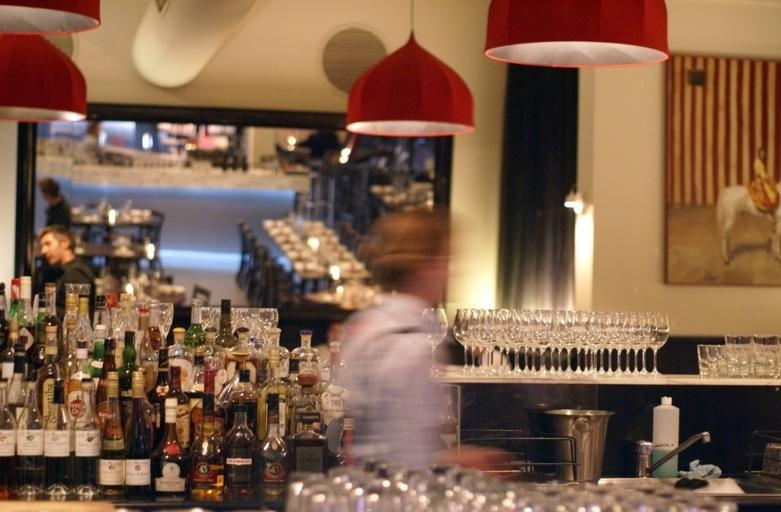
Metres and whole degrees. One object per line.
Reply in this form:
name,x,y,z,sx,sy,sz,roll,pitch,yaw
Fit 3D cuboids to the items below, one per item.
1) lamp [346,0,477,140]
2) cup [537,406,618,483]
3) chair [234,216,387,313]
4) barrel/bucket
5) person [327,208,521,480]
lamp,0.108,-0.913,6.085,0.556,0.803,0.579,0,-1,6
cup,1.005,1.022,6.493,0.390,0.395,0.407,-1,-2,0
chair,-0.629,0.059,8.214,0.659,0.926,0.360,-4,-44,-27
barrel/bucket,1.012,1.038,6.491,0.396,0.397,0.409,-3,-5,0
person,0.066,0.403,5.739,0.474,1.258,0.814,-2,-4,24
